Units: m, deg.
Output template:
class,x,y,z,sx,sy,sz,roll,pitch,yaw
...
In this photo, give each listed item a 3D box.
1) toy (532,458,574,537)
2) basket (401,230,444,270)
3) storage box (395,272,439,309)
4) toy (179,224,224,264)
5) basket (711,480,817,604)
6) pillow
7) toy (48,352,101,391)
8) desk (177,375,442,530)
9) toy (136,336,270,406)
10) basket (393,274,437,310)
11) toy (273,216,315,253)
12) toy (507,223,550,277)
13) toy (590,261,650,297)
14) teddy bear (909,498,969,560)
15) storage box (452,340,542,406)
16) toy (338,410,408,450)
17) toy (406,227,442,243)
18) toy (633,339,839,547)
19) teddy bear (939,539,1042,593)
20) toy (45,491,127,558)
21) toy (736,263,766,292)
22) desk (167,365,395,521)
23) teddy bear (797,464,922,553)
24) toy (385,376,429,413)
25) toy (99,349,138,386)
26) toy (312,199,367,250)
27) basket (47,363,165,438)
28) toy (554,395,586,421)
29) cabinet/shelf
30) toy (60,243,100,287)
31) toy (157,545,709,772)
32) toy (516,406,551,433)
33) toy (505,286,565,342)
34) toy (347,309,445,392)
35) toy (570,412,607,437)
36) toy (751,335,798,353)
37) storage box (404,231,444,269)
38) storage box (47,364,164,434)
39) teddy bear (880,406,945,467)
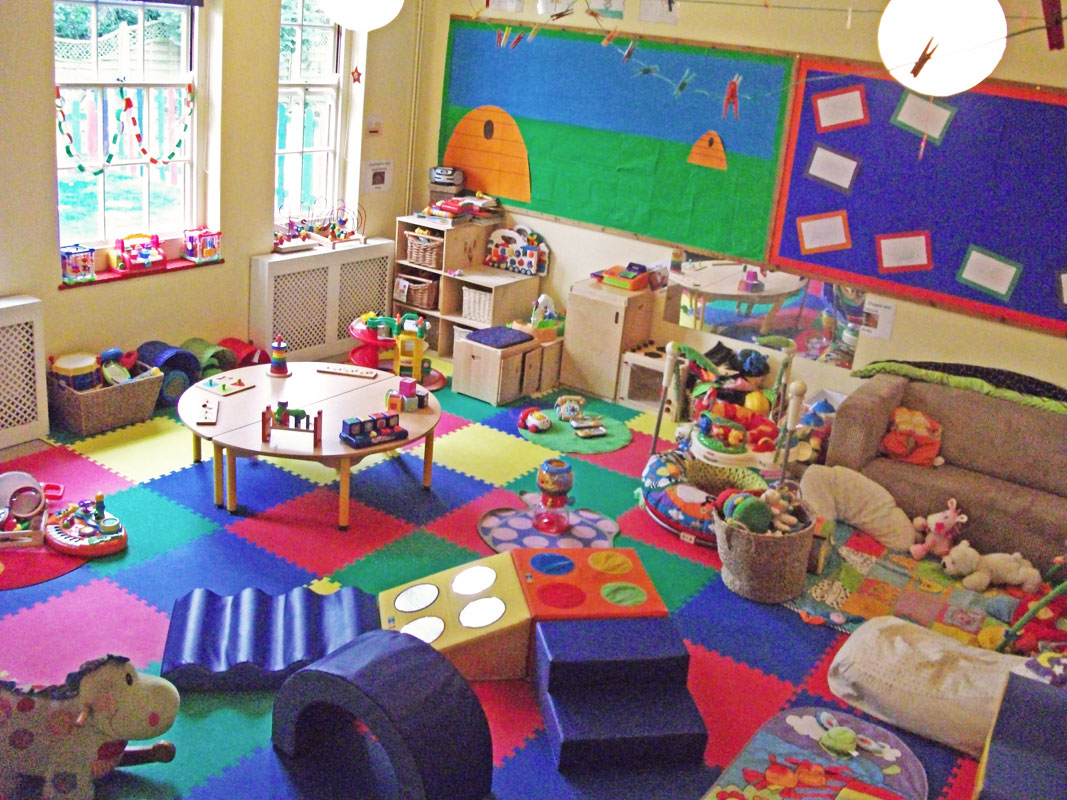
class,x,y,z,sx,sy,sz,roll,pitch,yaw
toy,0.131,0.693,5.689,0.319,0.593,0.296,6,22,12
basket,-1.087,-1.476,8.174,0.422,0.285,0.323,16,20,31
storage box,-1.188,-1.083,8.372,0.404,0.199,0.296,18,26,29
toy,-2.826,-1.304,7.129,0.350,0.331,0.300,-10,27,-41
basket,1.483,0.865,5.335,0.670,0.614,0.634,-16,22,-31
pillow,2.050,1.504,4.463,0.716,0.215,0.623,16,31,35
toy,-3.475,-0.249,6.263,0.284,0.276,0.285,-6,22,-42
desk,-1.592,0.092,5.802,1.310,0.468,1.311,23,31,30
toy,-2.633,-0.241,7.014,1.018,0.382,0.388,-20,-9,2
basket,-1.205,-1.082,8.379,0.407,0.197,0.299,13,22,31
toy,-2.233,-1.524,7.768,0.398,0.366,0.096,1,-14,-28
toy,-0.022,-1.467,8.166,0.335,0.452,0.137,16,18,24
toy,0.841,-1.095,7.509,0.297,0.146,0.410,17,20,42
teddy bear,2.783,0.899,5.703,0.279,0.374,0.300,0,6,-39
storage box,-0.358,-0.309,7.546,0.632,0.538,0.638,19,25,40
toy,-1.063,0.205,5.550,0.460,0.178,0.211,-4,18,-20
toy,-1.075,-1.609,8.184,0.267,0.088,0.187,10,15,26
toy,1.435,0.466,6.318,1.152,1.145,1.625,12,31,20
teddy bear,3.040,1.109,5.533,0.576,0.266,0.418,-1,9,22
toy,-2.782,0.762,5.092,0.511,0.310,0.371,16,22,38
toy,1.862,-1.018,7.106,0.224,0.223,0.215,5,28,8
desk,-1.759,0.031,5.874,1.206,0.441,1.209,25,35,32
teddy bear,2.274,0.751,5.811,0.723,0.287,0.648,36,35,3
toy,-0.919,-0.022,5.966,0.254,0.227,0.248,-8,27,-30
toy,-3.218,-0.246,6.476,0.236,0.307,0.287,-11,-12,-29
toy,-1.913,-1.696,8.074,0.319,0.414,0.425,-7,31,-39
basket,-3.286,0.026,6.379,0.479,0.334,0.684,20,23,37
toy,0.321,0.025,7.193,0.287,0.254,0.194,-1,23,-7
cabinet/shelf,-0.619,-1.064,7.984,0.654,1.197,1.259,-6,16,-38
toy,-3.505,-1.029,6.351,0.310,0.370,0.306,12,16,43
toy,-0.603,1.394,4.540,1.956,0.390,1.178,4,20,-13
toy,0.004,0.173,7.015,0.286,0.146,0.259,2,17,0
toy,0.096,-0.767,7.890,0.493,0.313,0.494,21,33,40
toy,-1.243,-0.523,7.492,0.764,0.255,0.768,30,27,31
toy,0.460,0.194,7.112,0.306,0.132,0.431,-2,17,-11
toy,2.052,-0.484,7.048,0.299,0.122,0.174,2,9,37
storage box,-1.113,-1.492,8.226,0.417,0.279,0.316,16,20,28
storage box,-3.273,-0.005,6.377,0.461,0.326,0.660,21,24,37
teddy bear,2.828,0.275,6.205,0.550,0.161,0.604,-5,30,-3
